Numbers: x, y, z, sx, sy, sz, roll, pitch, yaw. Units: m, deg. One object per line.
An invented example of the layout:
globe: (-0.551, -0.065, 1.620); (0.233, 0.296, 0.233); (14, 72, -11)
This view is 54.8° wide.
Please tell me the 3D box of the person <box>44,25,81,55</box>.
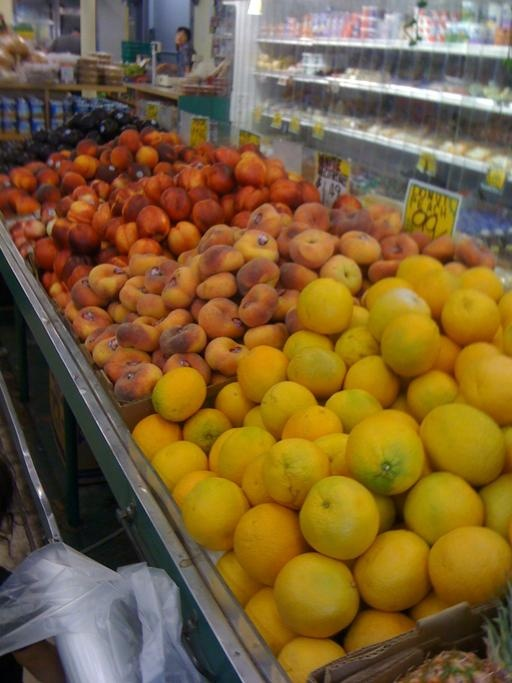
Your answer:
person: (-3.948, -6.228, 10.283); (0.579, 0.405, 0.749); (-5, 26, -20)
